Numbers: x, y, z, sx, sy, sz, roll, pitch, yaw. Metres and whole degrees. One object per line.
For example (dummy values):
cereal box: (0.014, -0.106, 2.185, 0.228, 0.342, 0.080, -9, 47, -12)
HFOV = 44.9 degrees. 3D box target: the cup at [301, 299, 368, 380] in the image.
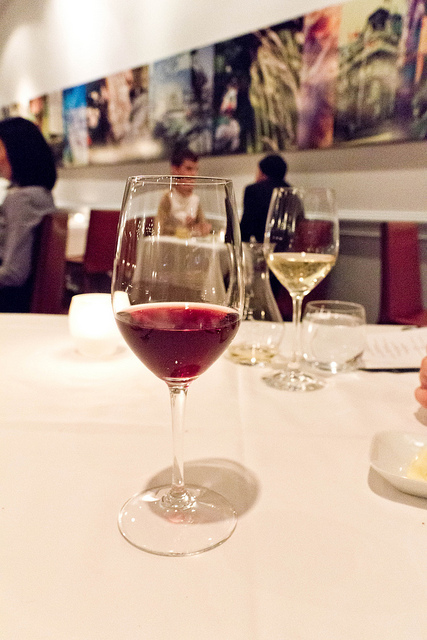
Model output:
cup: (0.151, 0.023, 0.662, 0.083, 0.101, 0.090, 3, 1, 0)

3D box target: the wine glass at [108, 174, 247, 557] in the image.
wine glass: (-0.017, 0.017, 0.309, 0.086, 0.200, 0.107, -2, 11, -21)
